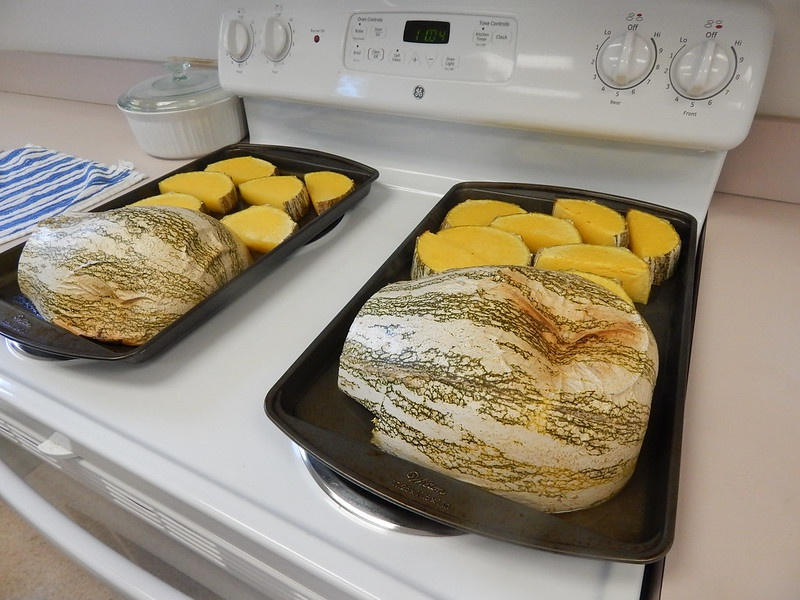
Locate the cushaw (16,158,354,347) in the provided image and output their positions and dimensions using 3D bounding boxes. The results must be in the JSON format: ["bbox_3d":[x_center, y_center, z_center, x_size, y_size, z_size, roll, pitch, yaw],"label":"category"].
[{"bbox_3d":[-0.257,-0.075,0.850,0.251,0.082,0.434,25,42,27],"label":"cushaw"}]

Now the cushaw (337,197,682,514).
[{"bbox_3d":[0.101,0.078,0.625,0.330,0.170,0.223,12,41,11],"label":"cushaw"}]

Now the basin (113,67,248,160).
[{"bbox_3d":[-0.392,-0.379,1.202,0.297,0.161,0.266,3,25,20],"label":"basin"}]

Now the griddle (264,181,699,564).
[{"bbox_3d":[0.131,0.041,0.731,0.429,0.076,0.568,18,43,10],"label":"griddle"}]
